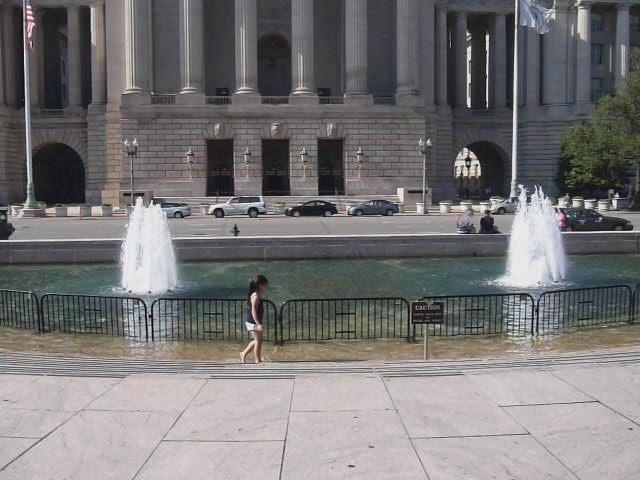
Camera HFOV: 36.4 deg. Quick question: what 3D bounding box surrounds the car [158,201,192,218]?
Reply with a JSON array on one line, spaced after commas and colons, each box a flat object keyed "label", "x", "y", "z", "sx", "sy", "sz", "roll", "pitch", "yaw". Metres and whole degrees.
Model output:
[{"label": "car", "x": -9.344, "y": -1.991, "z": 63.285, "sx": 2.331, "sy": 0.732, "sz": 1.021, "roll": 2, "pitch": 3, "yaw": -5}]

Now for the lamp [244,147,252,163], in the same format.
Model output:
[{"label": "lamp", "x": -5.365, "y": -6.440, "z": 73.539, "sx": 0.555, "sy": 1.234, "sz": 0.426, "roll": -3, "pitch": 4, "yaw": -12}]

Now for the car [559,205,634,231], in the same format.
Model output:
[{"label": "car", "x": 15.075, "y": -1.167, "z": 53.245, "sx": 3.559, "sy": 1.011, "sz": 1.459, "roll": -2, "pitch": 7, "yaw": -1}]

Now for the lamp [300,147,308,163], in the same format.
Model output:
[{"label": "lamp", "x": -1.172, "y": -6.475, "z": 73.936, "sx": 0.628, "sy": 1.249, "sz": 0.802, "roll": -3, "pitch": 4, "yaw": -2}]

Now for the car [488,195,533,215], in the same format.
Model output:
[{"label": "car", "x": 12.770, "y": -2.362, "z": 66.546, "sx": 1.580, "sy": 1.032, "sz": 2.317, "roll": 1, "pitch": 5, "yaw": 34}]

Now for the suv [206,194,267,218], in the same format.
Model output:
[{"label": "suv", "x": -5.472, "y": -2.295, "z": 64.783, "sx": 3.295, "sy": 1.260, "sz": 1.561, "roll": 2, "pitch": 0, "yaw": -4}]

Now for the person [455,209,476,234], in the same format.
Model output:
[{"label": "person", "x": 7.134, "y": -0.928, "z": 47.109, "sx": 0.877, "sy": 1.189, "sz": 1.094, "roll": -2, "pitch": 4, "yaw": 7}]

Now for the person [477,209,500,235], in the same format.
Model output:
[{"label": "person", "x": 8.201, "y": -0.958, "z": 47.404, "sx": 1.152, "sy": 1.616, "sz": 1.157, "roll": -3, "pitch": 8, "yaw": 11}]

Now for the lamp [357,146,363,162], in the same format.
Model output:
[{"label": "lamp", "x": 3.089, "y": -6.564, "z": 74.132, "sx": 0.503, "sy": 1.111, "sz": 0.683, "roll": -2, "pitch": 4, "yaw": 13}]

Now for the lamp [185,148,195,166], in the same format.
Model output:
[{"label": "lamp", "x": -9.708, "y": -6.357, "z": 73.123, "sx": 0.615, "sy": 1.233, "sz": 0.693, "roll": -3, "pitch": 4, "yaw": -11}]
